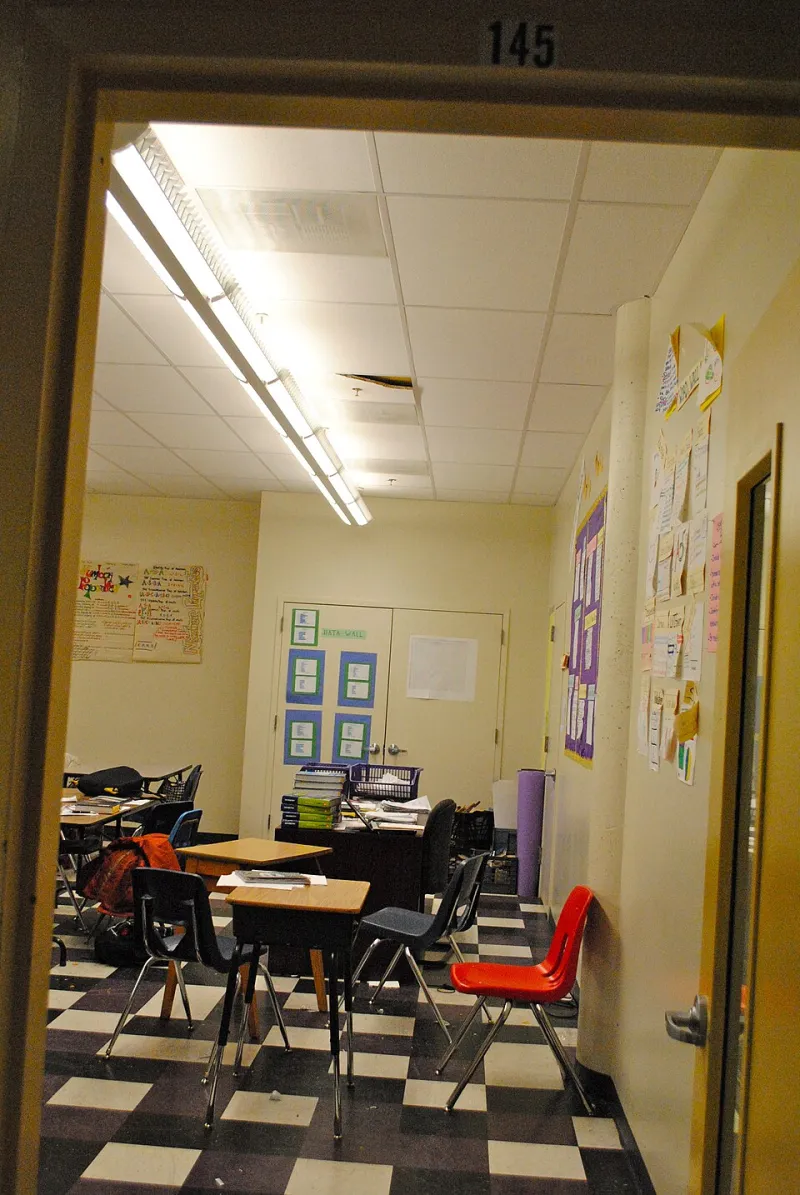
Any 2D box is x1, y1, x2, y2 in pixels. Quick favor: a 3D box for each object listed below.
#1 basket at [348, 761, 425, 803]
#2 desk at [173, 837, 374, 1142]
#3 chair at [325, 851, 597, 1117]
[{"bbox_3d":[-0.115,1.413,6.511,0.422,0.173,0.288,3,0,1],"label":"basket"},{"bbox_3d":[-0.379,1.568,3.607,0.853,1.342,0.883,1,-8,3],"label":"desk"},{"bbox_3d":[0.252,1.654,3.907,0.966,1.408,0.854,6,-7,0],"label":"chair"}]
